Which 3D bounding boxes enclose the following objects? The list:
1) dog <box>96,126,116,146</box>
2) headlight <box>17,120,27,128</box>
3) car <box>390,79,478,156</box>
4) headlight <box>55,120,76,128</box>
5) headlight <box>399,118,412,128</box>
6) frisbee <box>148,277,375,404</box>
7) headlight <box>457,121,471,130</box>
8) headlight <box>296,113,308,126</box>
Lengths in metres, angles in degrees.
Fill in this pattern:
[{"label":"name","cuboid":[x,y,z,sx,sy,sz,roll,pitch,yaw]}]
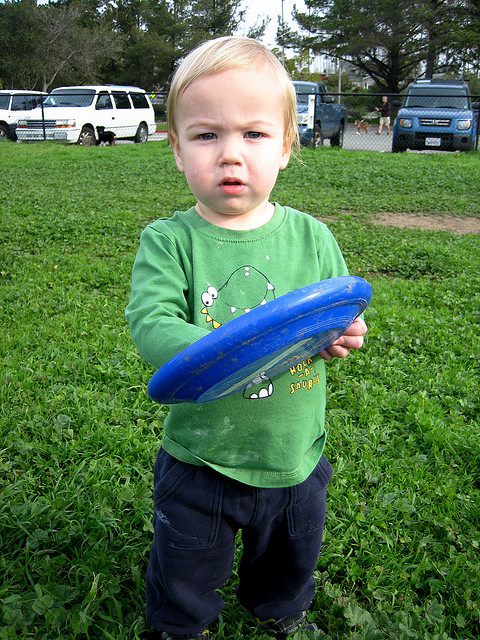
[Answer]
[{"label":"dog","cuboid":[-4.158,-5.684,16.620,0.567,0.443,0.866,-1,13,-13]},{"label":"headlight","cuboid":[-6.439,-5.769,15.806,0.141,0.245,0.536,-8,16,-40]},{"label":"car","cuboid":[4.966,-5.210,13.687,1.927,1.737,1.214,5,13,11]},{"label":"headlight","cuboid":[-5.039,-5.608,15.383,0.587,0.221,0.156,5,13,10]},{"label":"headlight","cuboid":[4.195,-4.964,13.583,0.321,0.201,0.224,7,13,21]},{"label":"frisbee","cuboid":[0.062,0.046,1.021,0.286,0.279,0.429,10,15,32]},{"label":"headlight","cuboid":[5.597,-4.862,13.436,0.427,0.208,0.118,-4,14,-27]},{"label":"headlight","cuboid":[1.580,-5.083,13.559,0.158,0.325,0.552,7,13,20]}]
